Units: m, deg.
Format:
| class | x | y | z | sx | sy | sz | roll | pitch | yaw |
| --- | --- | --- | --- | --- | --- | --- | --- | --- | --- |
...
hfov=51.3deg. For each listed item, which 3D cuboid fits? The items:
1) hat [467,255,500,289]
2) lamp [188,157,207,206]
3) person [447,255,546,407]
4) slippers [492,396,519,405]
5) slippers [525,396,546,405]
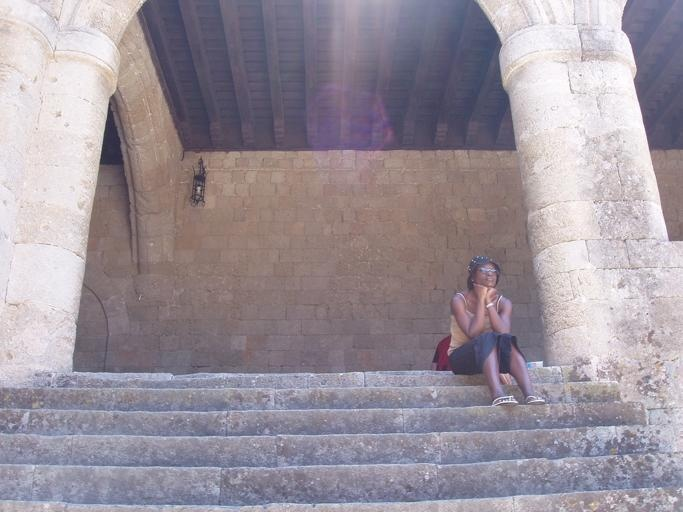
| class | x | y | z | sx | sy | sz | roll | pitch | yaw |
| --- | --- | --- | --- | --- | --- | --- | --- | --- | --- |
| hat | 0.986 | 0.105 | 4.845 | 0.195 | 0.224 | 0.224 | 4 | -18 | -1 |
| lamp | -1.753 | -0.932 | 8.711 | 0.221 | 0.611 | 0.169 | -4 | -13 | -9 |
| person | 0.912 | 0.441 | 4.467 | 0.515 | 1.015 | 0.749 | -7 | -13 | 5 |
| slippers | 0.930 | 0.812 | 4.028 | 0.105 | 0.034 | 0.060 | -6 | -10 | 19 |
| slippers | 1.104 | 0.824 | 4.068 | 0.087 | 0.036 | 0.050 | -2 | -11 | 15 |
